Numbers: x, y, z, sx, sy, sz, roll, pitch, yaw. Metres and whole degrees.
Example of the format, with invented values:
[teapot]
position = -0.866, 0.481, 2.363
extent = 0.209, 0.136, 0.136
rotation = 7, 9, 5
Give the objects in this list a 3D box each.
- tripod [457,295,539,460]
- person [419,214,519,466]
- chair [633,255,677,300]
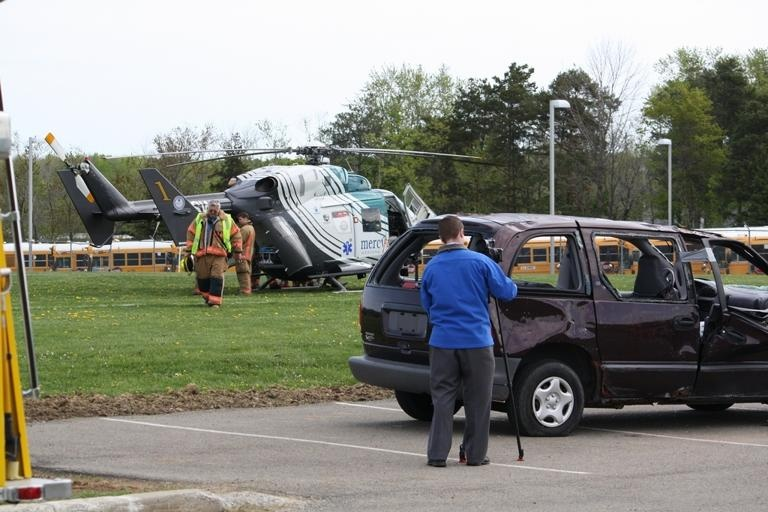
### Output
[tripod]
position = 1.519, 1.450, 12.251
extent = 0.853, 1.679, 1.117
rotation = 2, -1, -11
[person]
position = 0.943, 0.976, 12.014
extent = 1.146, 2.736, 0.855
rotation = 0, -2, 6
[chair]
position = 3.604, 0.308, 14.004
extent = 0.320, 0.577, 0.616
rotation = 1, 1, -38
